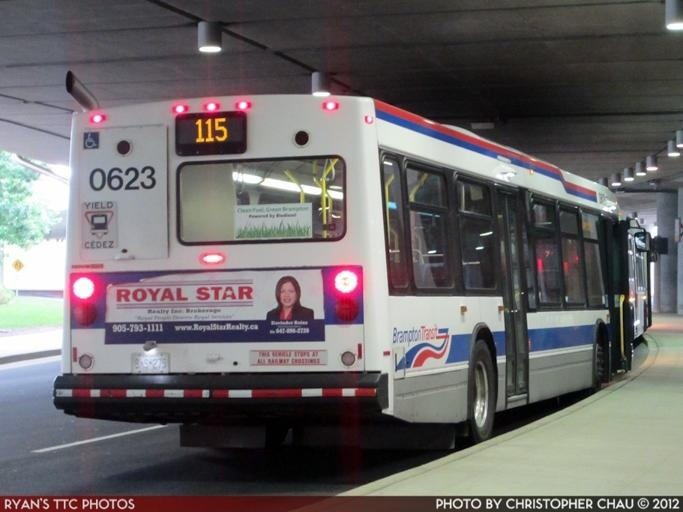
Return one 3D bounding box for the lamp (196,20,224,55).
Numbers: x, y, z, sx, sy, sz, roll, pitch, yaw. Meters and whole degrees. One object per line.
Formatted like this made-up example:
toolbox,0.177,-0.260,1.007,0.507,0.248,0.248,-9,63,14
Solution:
lamp,-2.439,-4.045,11.393,0.484,0.582,0.519,0,3,5
